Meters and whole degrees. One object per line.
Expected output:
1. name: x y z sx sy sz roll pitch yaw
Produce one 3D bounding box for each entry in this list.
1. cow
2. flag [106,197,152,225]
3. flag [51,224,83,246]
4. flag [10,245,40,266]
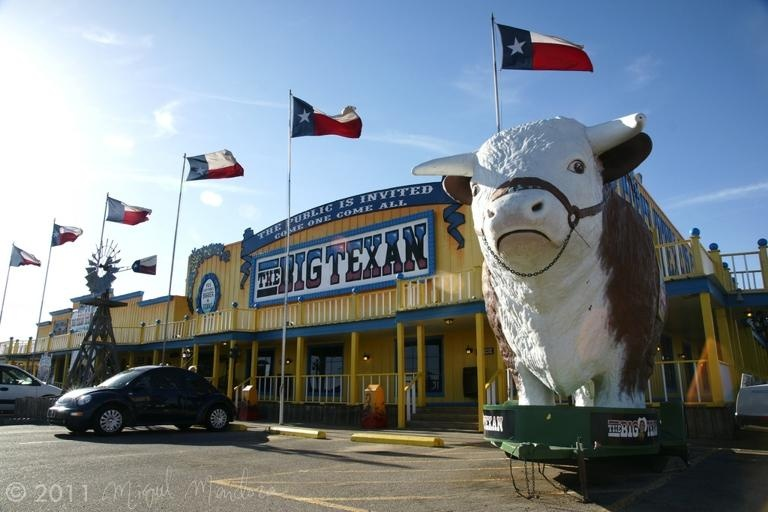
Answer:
1. cow: 3.009 0.551 8.951 2.816 3.169 5.018 -13 -39 24
2. flag: -11.459 -2.013 25.117 1.615 1.551 2.561 5 -10 -27
3. flag: -15.753 -1.073 27.872 1.329 1.470 0.241 2 -14 2
4. flag: -19.025 0.091 29.509 0.984 1.392 0.181 3 -8 -25
